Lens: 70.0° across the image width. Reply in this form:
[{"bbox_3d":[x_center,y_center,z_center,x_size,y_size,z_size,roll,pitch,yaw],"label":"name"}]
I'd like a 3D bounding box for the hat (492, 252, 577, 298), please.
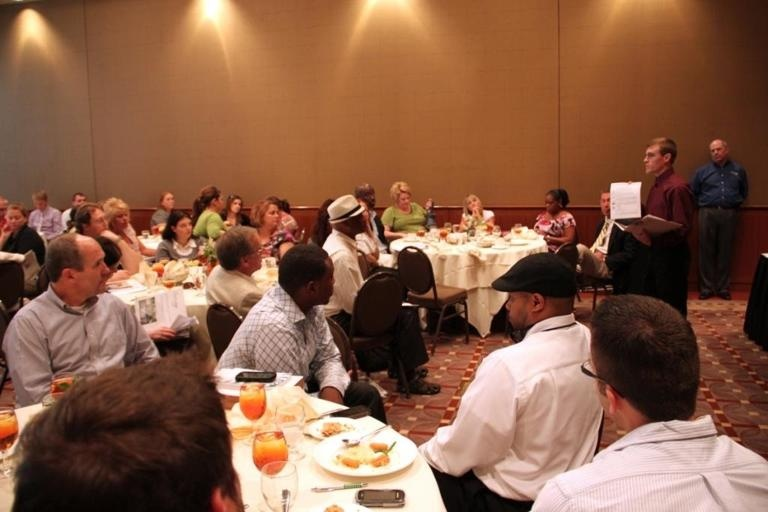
[{"bbox_3d":[0.703,0.090,2.530,0.260,0.143,0.208,11,2,17],"label":"hat"}]

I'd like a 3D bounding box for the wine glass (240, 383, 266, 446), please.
[{"bbox_3d":[-0.529,0.619,2.246,0.122,0.227,0.135,1,-3,8],"label":"wine glass"}]

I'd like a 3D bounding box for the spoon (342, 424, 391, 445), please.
[{"bbox_3d":[-0.081,0.738,2.280,0.051,0.043,0.275,6,3,27],"label":"spoon"}]

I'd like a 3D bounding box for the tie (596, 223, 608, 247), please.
[{"bbox_3d":[2.892,-0.274,7.288,0.100,0.317,0.166,8,16,-5],"label":"tie"}]

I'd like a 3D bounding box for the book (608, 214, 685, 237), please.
[{"bbox_3d":[2.265,-0.243,4.646,0.277,0.106,0.256,26,-16,-16],"label":"book"}]

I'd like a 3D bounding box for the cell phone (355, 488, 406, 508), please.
[{"bbox_3d":[-0.009,0.854,1.954,0.110,0.029,0.074,0,17,3],"label":"cell phone"}]

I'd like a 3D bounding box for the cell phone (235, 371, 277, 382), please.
[{"bbox_3d":[-0.606,0.573,2.619,0.106,0.021,0.080,1,1,3],"label":"cell phone"}]

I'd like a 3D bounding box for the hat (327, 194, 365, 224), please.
[{"bbox_3d":[-0.331,-0.376,4.730,0.250,0.106,0.229,-19,26,16],"label":"hat"}]

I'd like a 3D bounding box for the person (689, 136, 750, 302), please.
[{"bbox_3d":[4.622,-0.545,7.699,0.711,2.203,0.539,-5,7,-29],"label":"person"}]

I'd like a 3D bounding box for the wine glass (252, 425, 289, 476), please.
[{"bbox_3d":[-0.408,0.685,1.959,0.134,0.177,0.127,3,-6,3],"label":"wine glass"}]

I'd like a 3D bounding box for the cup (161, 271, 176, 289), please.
[{"bbox_3d":[-1.804,0.196,4.650,0.119,0.199,0.111,0,5,0],"label":"cup"}]

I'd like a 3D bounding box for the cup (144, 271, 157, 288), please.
[{"bbox_3d":[-1.966,0.198,4.668,0.104,0.146,0.120,4,6,4],"label":"cup"}]

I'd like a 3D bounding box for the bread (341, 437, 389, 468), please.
[{"bbox_3d":[-0.076,0.774,2.143,0.212,0.048,0.118,-2,7,-2],"label":"bread"}]
